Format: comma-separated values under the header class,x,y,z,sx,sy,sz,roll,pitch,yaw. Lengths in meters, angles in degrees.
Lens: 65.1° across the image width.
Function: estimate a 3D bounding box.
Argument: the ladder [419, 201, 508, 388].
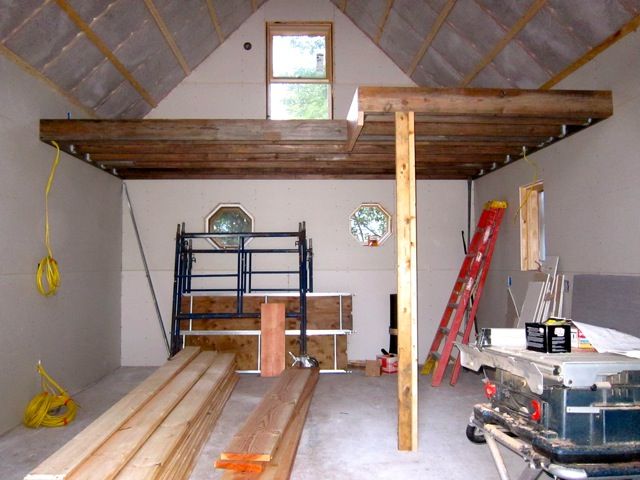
class,x,y,z,sx,sy,sz,roll,pitch,yaw
ladder,2.221,0.724,7.624,1.156,2.690,1.462,1,-2,12
